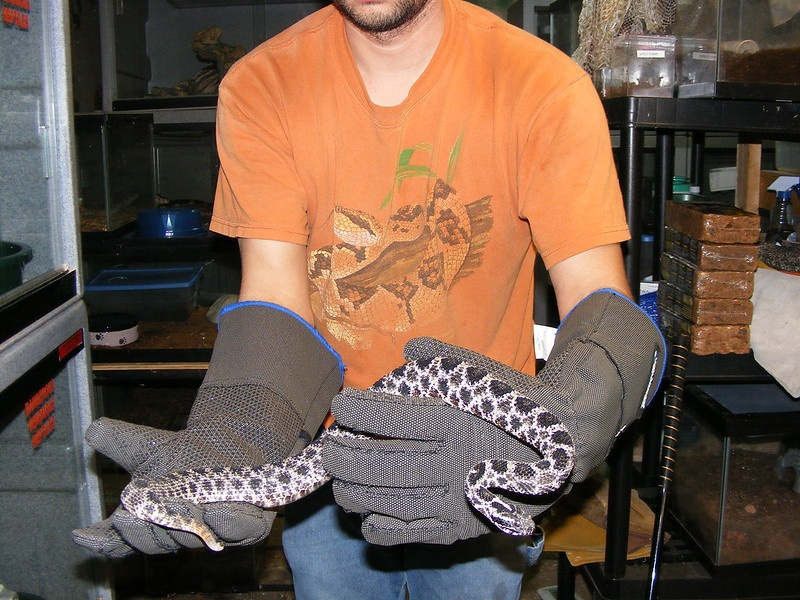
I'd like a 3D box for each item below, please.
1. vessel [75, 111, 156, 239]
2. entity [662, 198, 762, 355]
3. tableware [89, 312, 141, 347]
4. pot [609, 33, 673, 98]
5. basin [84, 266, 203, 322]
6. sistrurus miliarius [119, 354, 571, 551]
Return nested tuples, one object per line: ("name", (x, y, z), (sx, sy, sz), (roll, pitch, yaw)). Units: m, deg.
("vessel", (-1.883, -0.819, 4.588), (0.459, 0.570, 0.829), (1, 15, 0))
("entity", (1.241, -0.073, 2.887), (0.261, 0.685, 0.600), (1, 3, -11))
("tableware", (-1.553, 0.164, 3.893), (0.194, 0.073, 0.190), (-1, 9, -16))
("pot", (0.981, -0.941, 2.936), (0.245, 0.236, 0.233), (-1, 15, 0))
("basin", (-1.610, -0.016, 4.497), (0.660, 0.325, 0.884), (-3, -8, -31))
("sistrurus miliarius", (-0.090, 0.384, 1.733), (0.895, 0.147, 0.514), (-11, 30, 6))
